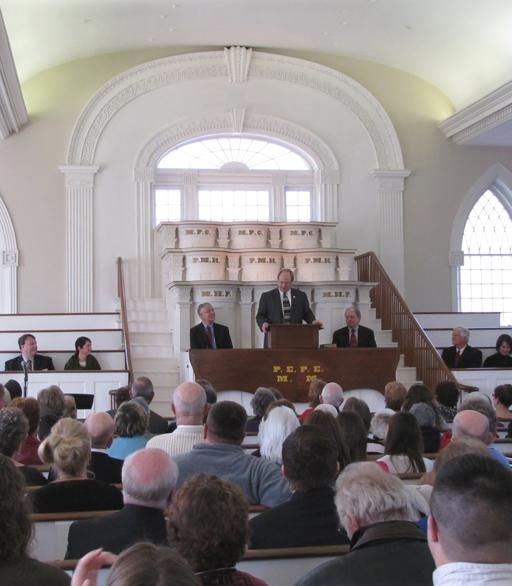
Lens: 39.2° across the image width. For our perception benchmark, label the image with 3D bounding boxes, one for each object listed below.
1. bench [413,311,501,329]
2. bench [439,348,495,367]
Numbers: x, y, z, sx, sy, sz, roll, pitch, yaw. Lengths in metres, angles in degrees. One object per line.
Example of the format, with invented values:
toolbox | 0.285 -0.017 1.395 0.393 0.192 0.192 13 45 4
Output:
bench | 3.382 0.459 12.215 1.378 0.256 0.412 -1 0 13
bench | 2.628 0.839 9.308 0.517 0.275 0.406 -1 1 24
